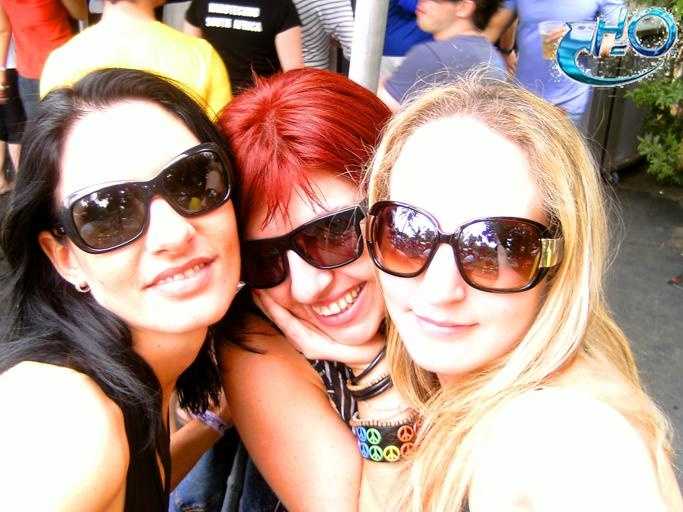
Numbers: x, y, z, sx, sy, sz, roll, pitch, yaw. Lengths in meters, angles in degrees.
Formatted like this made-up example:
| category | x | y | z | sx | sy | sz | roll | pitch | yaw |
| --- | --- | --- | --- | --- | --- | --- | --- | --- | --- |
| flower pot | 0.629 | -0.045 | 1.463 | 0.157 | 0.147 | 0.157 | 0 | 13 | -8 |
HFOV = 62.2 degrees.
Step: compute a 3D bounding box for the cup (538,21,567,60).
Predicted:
| category | x | y | z | sx | sy | sz | roll | pitch | yaw |
| --- | --- | --- | --- | --- | --- | --- | --- | --- | --- |
| cup | 0.884 | -0.935 | 2.443 | 0.116 | 0.133 | 0.120 | 1 | 32 | 0 |
